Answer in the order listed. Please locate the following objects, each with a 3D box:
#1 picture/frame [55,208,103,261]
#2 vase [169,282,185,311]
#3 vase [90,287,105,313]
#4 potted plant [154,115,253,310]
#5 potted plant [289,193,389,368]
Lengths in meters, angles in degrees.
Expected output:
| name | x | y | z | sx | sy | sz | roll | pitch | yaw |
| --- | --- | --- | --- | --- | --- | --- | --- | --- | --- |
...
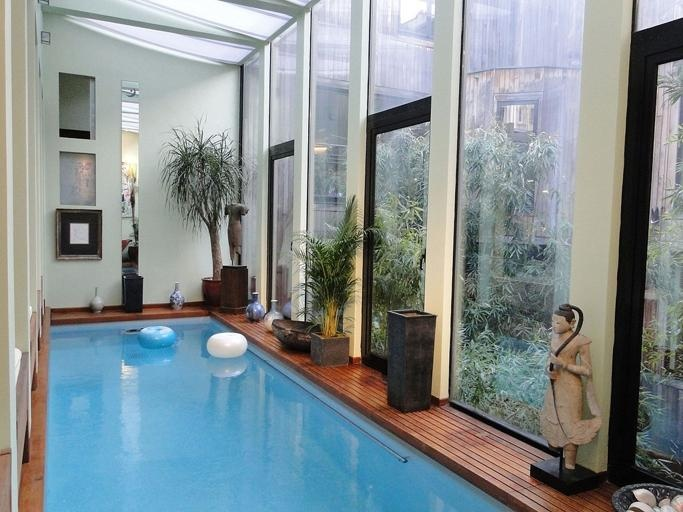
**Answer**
| name | x | y | z | sx | sy | sz | roll | pitch | yaw |
| --- | --- | --- | --- | --- | --- | --- | --- | --- | --- |
| picture/frame | -4.402 | -0.381 | 8.409 | 0.740 | 1.019 | 0.068 | -2 | 5 | -31 |
| vase | -2.935 | 0.698 | 8.987 | 0.234 | 0.446 | 0.446 | -2 | 7 | -20 |
| vase | -4.089 | 0.734 | 8.445 | 0.202 | 0.374 | 0.378 | -3 | 7 | -26 |
| potted plant | -2.444 | -1.003 | 9.018 | 1.436 | 2.977 | 1.024 | 0 | 6 | -3 |
| potted plant | -0.166 | 0.247 | 6.227 | 0.748 | 1.961 | 1.230 | -2 | 7 | -21 |
